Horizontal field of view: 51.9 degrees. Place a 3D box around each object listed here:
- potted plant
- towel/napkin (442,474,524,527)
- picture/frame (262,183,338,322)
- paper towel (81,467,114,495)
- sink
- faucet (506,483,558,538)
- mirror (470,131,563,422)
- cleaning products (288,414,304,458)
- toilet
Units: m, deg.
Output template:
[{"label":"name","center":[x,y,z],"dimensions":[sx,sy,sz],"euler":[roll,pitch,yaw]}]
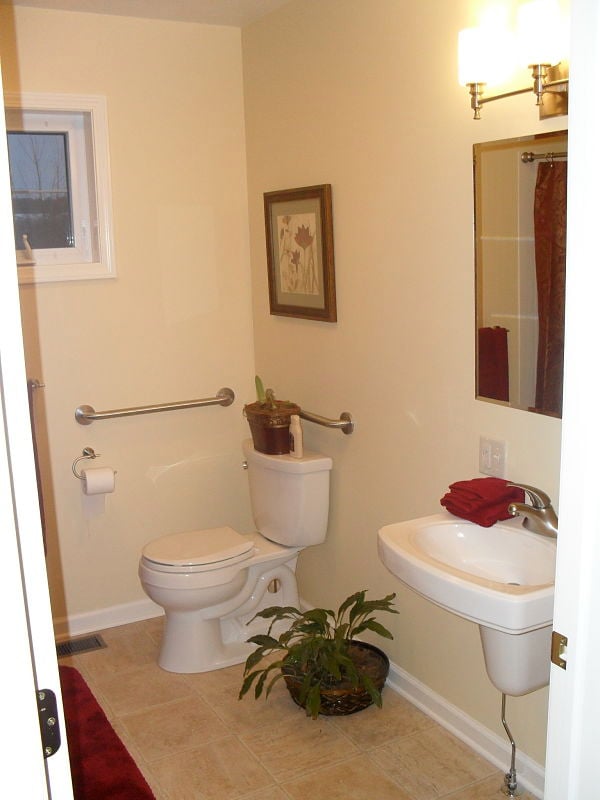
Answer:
[{"label":"potted plant","center":[0.085,0.836,2.048],"dimensions":[0.391,0.211,0.460],"euler":[-1,2,17]},{"label":"towel/napkin","center":[0.472,0.227,1.531],"dimensions":[0.129,0.069,0.123],"euler":[13,22,42]},{"label":"picture/frame","center":[0.009,-0.573,2.364],"dimensions":[0.043,0.561,0.497],"euler":[-11,15,-30]},{"label":"paper towel","center":[-0.789,0.318,2.410],"dimensions":[0.121,0.100,0.109],"euler":[-5,33,-22]},{"label":"sink","center":[0.368,0.382,1.385],"dimensions":[0.403,0.129,0.404],"euler":[1,9,30]},{"label":"faucet","center":[0.573,0.258,1.459],"dimensions":[0.146,0.099,0.069],"euler":[3,4,39]},{"label":"mirror","center":[0.535,-0.298,1.509],"dimensions":[0.039,0.674,0.290],"euler":[-7,8,-28]},{"label":"cleaning products","center":[-0.019,0.139,2.345],"dimensions":[0.035,0.215,0.117],"euler":[-6,12,-21]},{"label":"toilet","center":[-0.278,0.603,2.728],"dimensions":[0.929,1.089,0.546],"euler":[-1,6,-32]}]
